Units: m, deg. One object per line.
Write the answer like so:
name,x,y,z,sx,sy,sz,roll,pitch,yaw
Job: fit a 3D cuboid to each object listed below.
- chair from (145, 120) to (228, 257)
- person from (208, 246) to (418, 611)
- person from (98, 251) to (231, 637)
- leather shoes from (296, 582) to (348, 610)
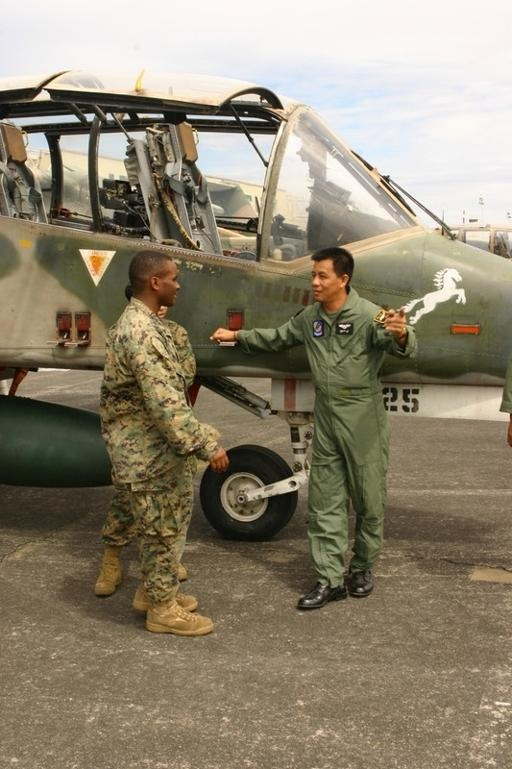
chair,-0.498,-1.379,4.874,0.209,0.784,0.367,-1,21,26
person,0.402,0.208,3.639,0.612,1.814,0.837,1,8,-8
person,-0.470,0.385,3.236,0.457,1.546,0.740,-1,8,-26
leather shoes,0.332,1.069,3.576,0.292,0.115,0.101,-1,0,-36
